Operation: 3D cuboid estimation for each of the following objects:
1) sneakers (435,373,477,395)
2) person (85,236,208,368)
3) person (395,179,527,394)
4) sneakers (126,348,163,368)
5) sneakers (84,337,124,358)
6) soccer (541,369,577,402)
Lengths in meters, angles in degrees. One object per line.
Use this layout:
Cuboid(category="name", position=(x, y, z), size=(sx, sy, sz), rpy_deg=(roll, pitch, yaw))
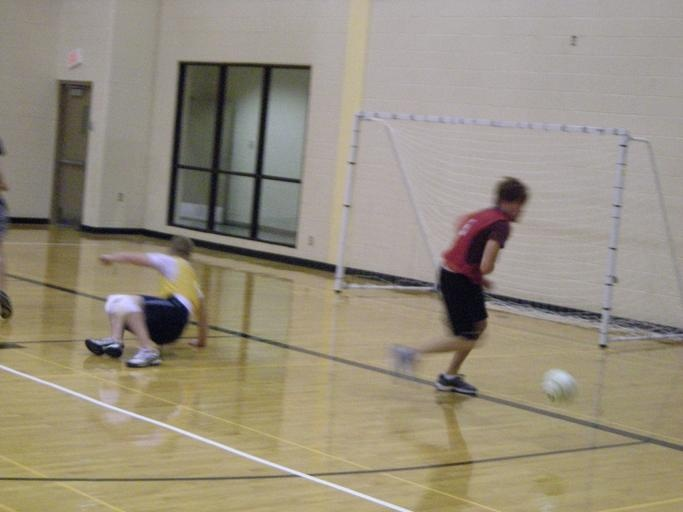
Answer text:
Cuboid(category="sneakers", position=(0.936, 1.065, 5.658), size=(0.396, 0.132, 0.133), rpy_deg=(10, 5, -3))
Cuboid(category="person", position=(-1.534, 0.359, 5.755), size=(0.535, 1.042, 1.023), rpy_deg=(16, 11, 43))
Cuboid(category="person", position=(0.960, 0.241, 5.448), size=(0.731, 1.813, 0.596), rpy_deg=(11, 7, 11))
Cuboid(category="sneakers", position=(-1.586, 0.840, 5.572), size=(0.340, 0.125, 0.111), rpy_deg=(0, -1, -26))
Cuboid(category="sneakers", position=(-1.921, 0.747, 5.570), size=(0.369, 0.130, 0.129), rpy_deg=(12, -1, -3))
Cuboid(category="soccer", position=(1.643, 0.978, 5.110), size=(0.248, 0.138, 0.243), rpy_deg=(9, 7, 17))
